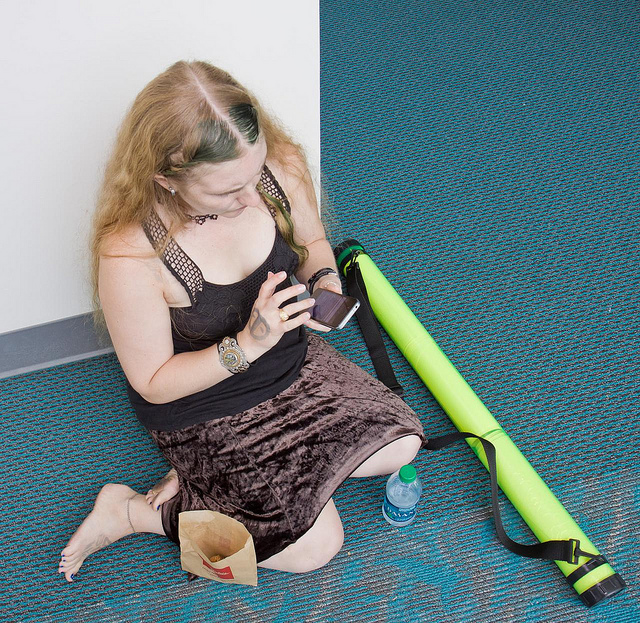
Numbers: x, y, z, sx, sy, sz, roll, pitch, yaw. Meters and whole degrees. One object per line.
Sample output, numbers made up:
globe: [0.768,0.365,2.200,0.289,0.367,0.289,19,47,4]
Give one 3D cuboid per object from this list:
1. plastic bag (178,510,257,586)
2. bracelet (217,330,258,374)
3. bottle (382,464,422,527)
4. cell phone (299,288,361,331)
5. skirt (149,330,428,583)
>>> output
plastic bag: [-0.258,0.615,1.684,0.227,0.175,0.087,8,29,19]
bracelet: [-0.199,0.096,1.589,0.093,0.089,0.027,-21,22,0]
bottle: [0.230,0.520,1.842,0.098,0.186,0.085,11,34,10]
cell phone: [0.028,-0.019,1.630,0.095,0.163,0.019,34,54,-3]
skirt: [0.010,0.471,1.952,0.728,0.599,0.648,12,40,2]
